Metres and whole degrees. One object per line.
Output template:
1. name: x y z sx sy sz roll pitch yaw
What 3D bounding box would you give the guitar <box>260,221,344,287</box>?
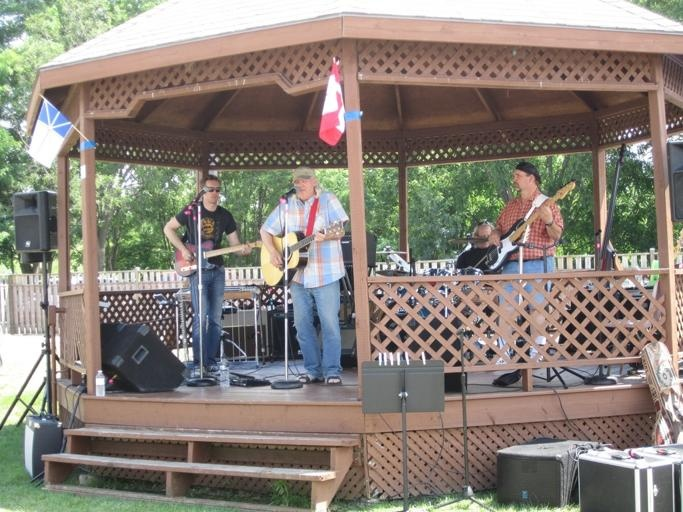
1. guitar: -0.542 -0.004 11.207 0.438 0.619 1.382 5 -8 -39

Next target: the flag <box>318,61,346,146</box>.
1. flag: -0.087 -1.668 10.597 0.270 0.963 0.427 0 -6 -1

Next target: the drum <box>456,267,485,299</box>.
1. drum: 1.587 0.310 11.978 0.291 0.451 0.374 -5 -17 3

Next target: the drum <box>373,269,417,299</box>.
1. drum: 0.642 0.407 12.665 0.522 0.425 0.304 3 -8 -14

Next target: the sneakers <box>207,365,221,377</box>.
1. sneakers: -1.627 1.453 12.323 0.135 0.150 0.051 7 -51 -18

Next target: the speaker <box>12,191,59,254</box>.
1. speaker: -4.046 -0.449 12.838 0.553 0.797 0.580 2 -7 -19

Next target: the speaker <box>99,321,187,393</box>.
1. speaker: -2.421 1.191 11.552 0.727 0.747 0.954 -4 4 -28

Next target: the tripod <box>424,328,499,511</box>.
1. tripod: 1.357 1.716 10.510 0.618 1.913 0.778 -2 -6 14

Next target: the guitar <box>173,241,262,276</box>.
1. guitar: -1.568 0.025 12.012 1.029 0.409 0.572 0 -6 -2

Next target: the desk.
1. desk: -1.748 0.985 13.896 1.342 1.526 1.124 0 -8 -5

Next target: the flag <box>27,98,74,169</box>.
1. flag: -3.568 -1.499 11.957 0.506 0.963 0.967 2 -7 -18

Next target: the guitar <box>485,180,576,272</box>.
1. guitar: 2.920 -0.477 14.598 0.273 0.663 2.148 15 -49 -27

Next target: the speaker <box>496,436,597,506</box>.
1. speaker: 2.066 2.291 10.164 0.689 0.533 0.743 -3 -2 -12

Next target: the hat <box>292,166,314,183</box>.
1. hat: -0.423 -0.947 11.267 0.249 0.184 0.205 0 -6 -8

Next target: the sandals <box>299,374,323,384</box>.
1. sandals: -0.351 1.442 11.484 0.249 0.124 0.115 6 -4 -8

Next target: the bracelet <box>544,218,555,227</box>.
1. bracelet: 2.426 -0.399 11.307 0.082 0.058 0.102 0 -2 4

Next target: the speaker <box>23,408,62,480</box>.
1. speaker: -3.503 2.186 11.588 0.499 1.069 0.797 2 -3 -21
